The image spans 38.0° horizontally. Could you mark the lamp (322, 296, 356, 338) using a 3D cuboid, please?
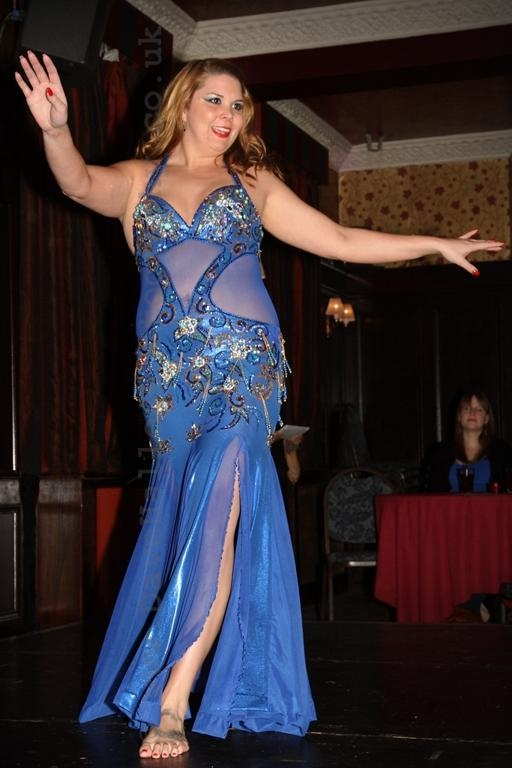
[{"bbox_3d":[0.882,-0.714,7.887,0.362,0.372,0.378,5,-7,-42],"label":"lamp"}]

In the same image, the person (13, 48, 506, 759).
[{"bbox_3d":[-0.125,-0.012,1.563,0.828,1.410,0.369,5,-11,-29],"label":"person"}]

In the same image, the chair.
[{"bbox_3d":[0.672,0.954,4.407,0.568,0.867,0.582,2,-1,0],"label":"chair"}]
